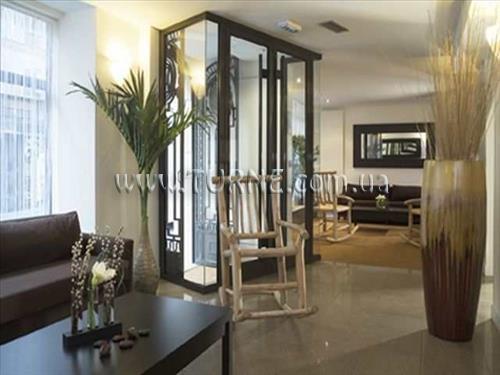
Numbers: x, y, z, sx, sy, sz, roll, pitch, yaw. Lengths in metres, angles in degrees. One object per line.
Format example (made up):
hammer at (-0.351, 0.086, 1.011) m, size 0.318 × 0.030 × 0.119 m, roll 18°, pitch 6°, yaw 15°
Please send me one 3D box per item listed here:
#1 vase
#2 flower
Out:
vase at (1.628, 0.508, 3.213) m, size 0.483 × 1.469 × 0.262 m, roll 6°, pitch 12°, yaw 26°
flower at (-0.891, 0.631, 2.344) m, size 0.172 × 0.381 × 0.085 m, roll -5°, pitch 12°, yaw -25°
